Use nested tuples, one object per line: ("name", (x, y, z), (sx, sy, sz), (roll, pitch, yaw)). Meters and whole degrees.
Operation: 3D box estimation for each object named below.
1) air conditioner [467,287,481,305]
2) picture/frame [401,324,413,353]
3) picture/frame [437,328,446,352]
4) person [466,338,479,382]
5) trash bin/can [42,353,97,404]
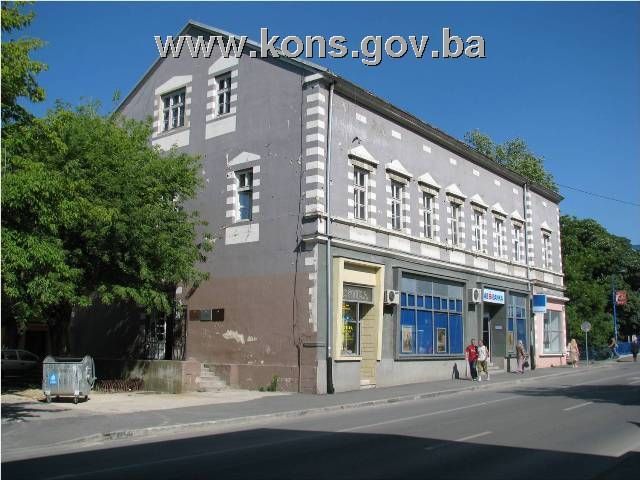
("air conditioner", (8.726, 3.135, 31.731), (0.244, 0.790, 0.821), (-5, -11, 32))
("picture/frame", (4.176, 4.705, 26.893), (0.089, 1.484, 1.162), (-4, -7, 32))
("picture/frame", (6.354, 5.224, 29.294), (0.052, 1.361, 1.052), (-4, -9, 33))
("person", (7.933, 6.116, 28.860), (0.589, 2.191, 1.562), (-4, -16, 15))
("trash bin/can", (-8.979, 5.025, 20.348), (1.389, 1.534, 1.948), (1, -15, -7))
